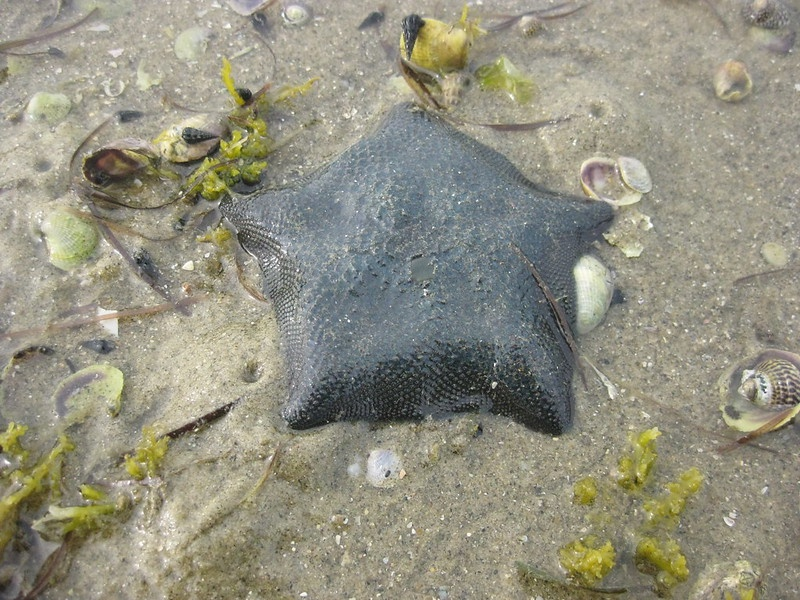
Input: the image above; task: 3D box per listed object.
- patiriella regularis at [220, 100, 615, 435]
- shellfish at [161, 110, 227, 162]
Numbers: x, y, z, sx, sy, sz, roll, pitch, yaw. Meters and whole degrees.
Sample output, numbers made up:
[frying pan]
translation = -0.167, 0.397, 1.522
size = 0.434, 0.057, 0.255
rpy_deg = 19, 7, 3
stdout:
[patiriella regularis]
translation = 0.217, -0.140, 7.571
size = 2.801, 0.775, 2.398
rpy_deg = 3, 81, 3
[shellfish]
translation = -1.816, -1.454, 8.082
size = 0.345, 0.199, 0.539
rpy_deg = 34, 57, 22
